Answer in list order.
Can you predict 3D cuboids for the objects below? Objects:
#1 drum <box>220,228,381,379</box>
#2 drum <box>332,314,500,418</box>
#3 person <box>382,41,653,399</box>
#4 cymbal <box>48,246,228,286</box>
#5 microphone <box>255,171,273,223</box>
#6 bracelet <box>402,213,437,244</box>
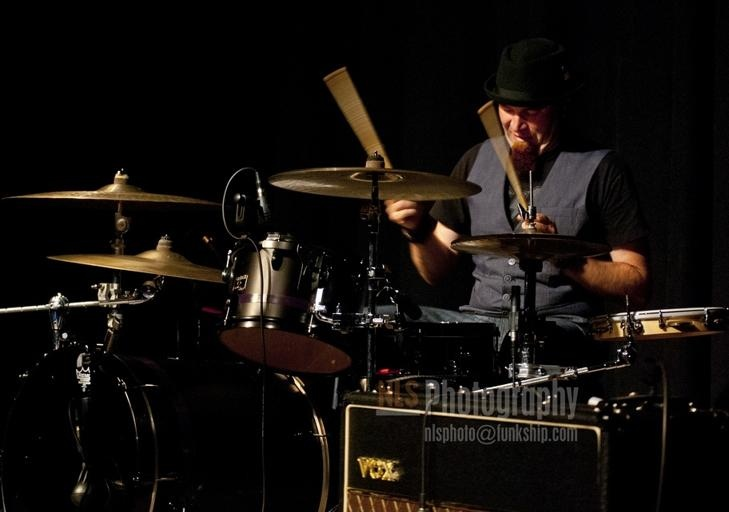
[{"bbox_3d":[-0.313,0.215,3.644,0.626,0.614,0.424,2,-7,-1],"label":"drum"},{"bbox_3d":[0.274,0.451,3.447,0.702,0.288,0.423,0,2,2],"label":"drum"},{"bbox_3d":[0.738,-0.161,4.158,1.378,1.521,1.086,9,11,38],"label":"person"},{"bbox_3d":[-1.011,0.036,3.789,0.404,0.066,0.370,9,-3,17],"label":"cymbal"},{"bbox_3d":[-0.449,-0.254,3.678,0.075,0.239,0.253,3,-7,-7],"label":"microphone"},{"bbox_3d":[0.250,-0.121,3.884,0.163,0.037,0.155,-27,5,12],"label":"bracelet"}]
